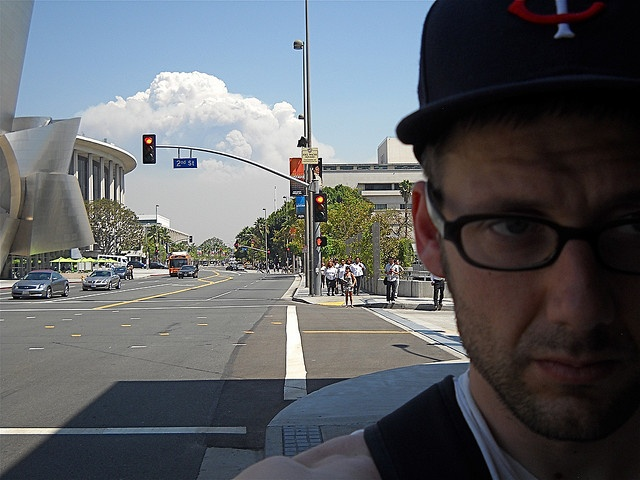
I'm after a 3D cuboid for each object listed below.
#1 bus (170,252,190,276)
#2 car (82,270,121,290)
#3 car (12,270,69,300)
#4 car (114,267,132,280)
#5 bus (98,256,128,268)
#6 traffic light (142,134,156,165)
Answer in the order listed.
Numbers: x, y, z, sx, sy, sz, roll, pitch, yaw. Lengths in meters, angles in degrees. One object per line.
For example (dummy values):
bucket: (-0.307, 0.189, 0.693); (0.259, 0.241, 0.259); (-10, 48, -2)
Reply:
bus: (-17.454, 2.787, 76.344); (1.728, 1.993, 4.601); (-1, -2, -1)
car: (-13.051, 2.431, 37.232); (1.003, 0.767, 2.438); (-2, -4, 1)
car: (-12.490, 2.021, 28.072); (1.110, 0.862, 2.548); (-1, -6, 4)
car: (-17.809, 3.033, 55.587); (1.280, 1.102, 2.921); (-2, -8, -3)
bus: (-27.093, 2.836, 80.085); (3.125, 1.651, 1.297); (-1, 4, 2)
traffic light: (-6.212, -3.315, 22.456); (0.409, 0.964, 0.377); (2, -4, -5)
